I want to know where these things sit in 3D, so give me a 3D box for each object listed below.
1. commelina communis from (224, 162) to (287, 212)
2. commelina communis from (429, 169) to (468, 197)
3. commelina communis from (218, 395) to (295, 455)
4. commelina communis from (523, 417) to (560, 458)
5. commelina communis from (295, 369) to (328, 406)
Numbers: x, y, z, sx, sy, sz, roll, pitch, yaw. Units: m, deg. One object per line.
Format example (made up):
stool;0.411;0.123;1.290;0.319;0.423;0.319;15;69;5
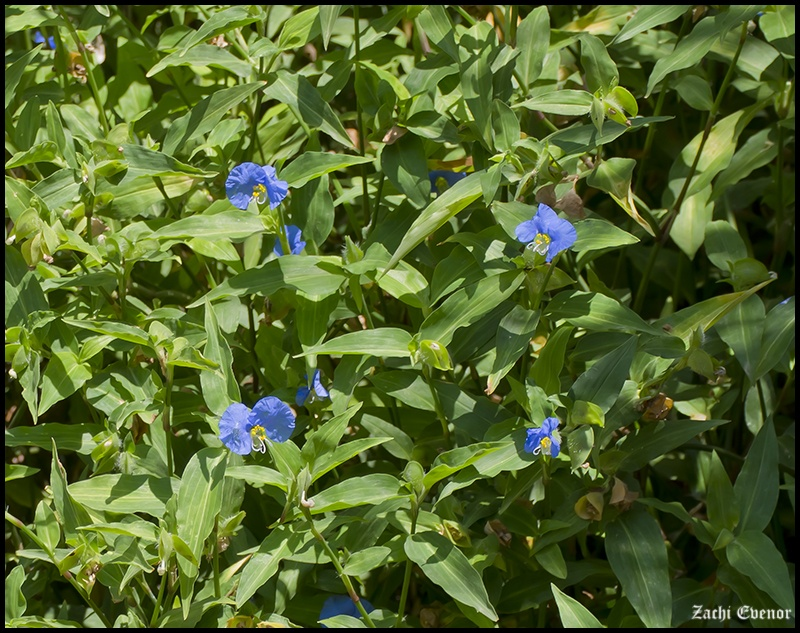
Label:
commelina communis;-0.292;-0.262;1.540;0.094;0.106;0.048;-7;29;4
commelina communis;0.116;-0.321;1.918;0.086;0.025;0.097;-17;63;21
commelina communis;-0.274;0.208;1.458;0.122;0.112;0.053;-17;0;-33
commelina communis;0.260;0.213;1.422;0.066;0.071;0.030;-38;34;-15
commelina communis;-0.191;0.156;1.643;0.068;0.023;0.079;-1;63;24
